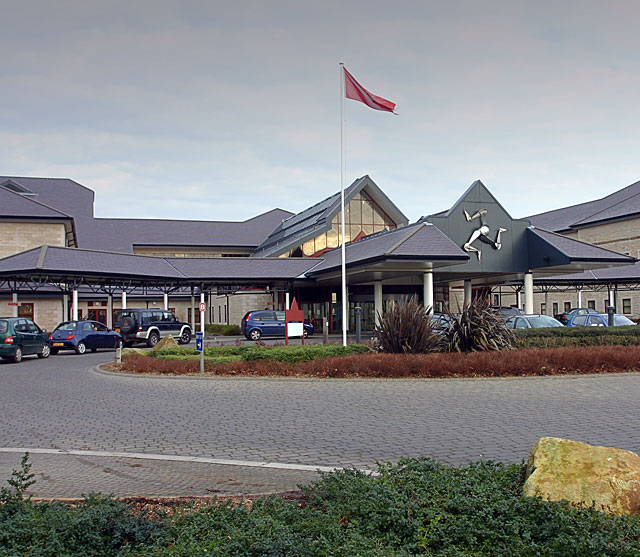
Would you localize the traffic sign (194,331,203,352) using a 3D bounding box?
[{"bbox_3d":[-3.075,1.623,19.479,0.129,0.519,0.806,0,-3,-13],"label":"traffic sign"}]

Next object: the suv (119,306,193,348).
[{"bbox_3d":[-8.049,2.380,36.963,1.040,1.825,3.691,-3,-4,35],"label":"suv"}]

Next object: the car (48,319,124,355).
[{"bbox_3d":[-9.989,2.449,32.232,0.859,1.381,2.933,-2,-4,32],"label":"car"}]

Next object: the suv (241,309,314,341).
[{"bbox_3d":[-2.641,2.609,43.166,3.365,1.217,1.799,-2,1,-10],"label":"suv"}]
